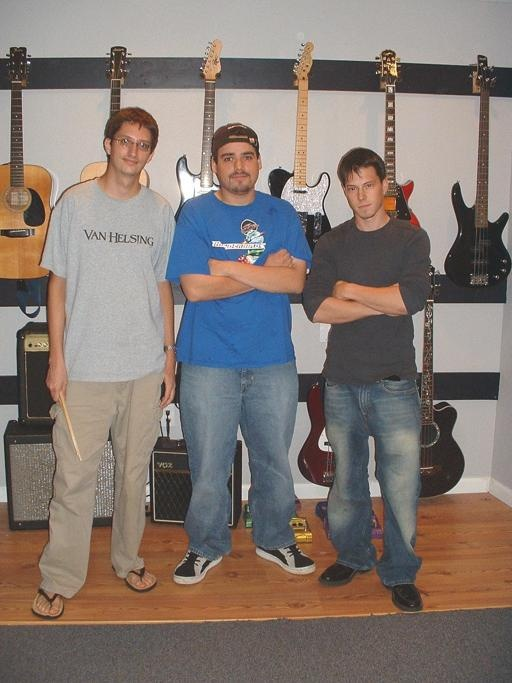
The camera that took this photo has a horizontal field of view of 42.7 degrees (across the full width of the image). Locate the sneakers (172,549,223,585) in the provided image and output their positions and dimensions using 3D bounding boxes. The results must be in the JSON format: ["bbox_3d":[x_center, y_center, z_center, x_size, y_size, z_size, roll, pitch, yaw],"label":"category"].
[{"bbox_3d":[-0.242,0.894,2.638,0.081,0.084,0.218,8,3,22],"label":"sneakers"}]

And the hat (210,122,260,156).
[{"bbox_3d":[-0.081,-0.773,2.512,0.172,0.125,0.136,1,11,0],"label":"hat"}]

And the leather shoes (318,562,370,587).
[{"bbox_3d":[0.357,0.921,2.649,0.208,0.084,0.076,-4,9,-19],"label":"leather shoes"}]

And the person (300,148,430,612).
[{"bbox_3d":[0.427,0.122,2.507,0.542,1.683,0.379,5,11,20],"label":"person"}]

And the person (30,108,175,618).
[{"bbox_3d":[-0.572,0.054,2.468,0.629,1.827,0.414,-4,11,-23],"label":"person"}]

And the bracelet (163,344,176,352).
[{"bbox_3d":[-0.354,0.022,2.656,0.039,0.025,0.042,-3,2,0],"label":"bracelet"}]

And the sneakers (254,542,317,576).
[{"bbox_3d":[0.129,0.894,2.759,0.240,0.095,0.090,4,6,39],"label":"sneakers"}]

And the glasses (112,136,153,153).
[{"bbox_3d":[-0.451,-0.721,2.395,0.138,0.052,0.052,-3,11,-18],"label":"glasses"}]

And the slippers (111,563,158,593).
[{"bbox_3d":[-0.464,0.922,2.577,0.133,0.048,0.074,10,11,35],"label":"slippers"}]

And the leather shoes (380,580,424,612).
[{"bbox_3d":[0.571,0.943,2.431,0.057,0.056,0.131,-1,4,-10],"label":"leather shoes"}]
